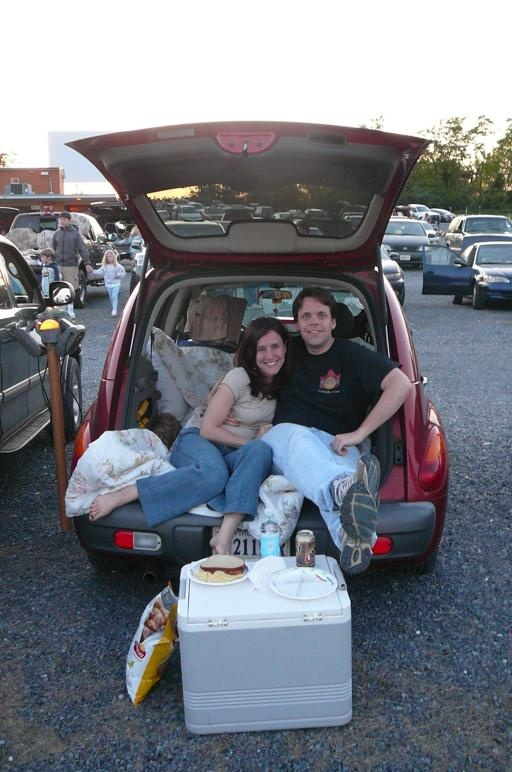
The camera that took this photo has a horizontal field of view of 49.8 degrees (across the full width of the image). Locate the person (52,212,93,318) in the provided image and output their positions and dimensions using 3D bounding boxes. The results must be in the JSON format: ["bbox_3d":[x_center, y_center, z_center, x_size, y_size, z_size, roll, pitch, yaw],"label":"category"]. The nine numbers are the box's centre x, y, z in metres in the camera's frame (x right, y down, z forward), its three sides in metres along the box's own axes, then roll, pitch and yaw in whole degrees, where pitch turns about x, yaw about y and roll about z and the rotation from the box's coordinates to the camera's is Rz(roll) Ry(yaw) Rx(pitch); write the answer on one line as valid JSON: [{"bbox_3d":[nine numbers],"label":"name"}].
[{"bbox_3d":[-4.144,-2.593,11.976,0.919,2.164,0.421,0,0,-6],"label":"person"}]

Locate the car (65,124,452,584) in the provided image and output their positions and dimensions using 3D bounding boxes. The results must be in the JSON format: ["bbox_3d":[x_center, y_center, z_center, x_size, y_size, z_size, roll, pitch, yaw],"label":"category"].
[{"bbox_3d":[0.009,-0.532,3.048,1.384,1.705,2.482,-1,23,2],"label":"car"}]

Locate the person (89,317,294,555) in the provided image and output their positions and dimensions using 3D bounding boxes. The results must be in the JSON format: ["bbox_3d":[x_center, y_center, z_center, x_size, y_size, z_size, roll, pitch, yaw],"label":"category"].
[{"bbox_3d":[-0.229,0.163,2.532,0.633,0.964,0.966,1,4,22],"label":"person"}]

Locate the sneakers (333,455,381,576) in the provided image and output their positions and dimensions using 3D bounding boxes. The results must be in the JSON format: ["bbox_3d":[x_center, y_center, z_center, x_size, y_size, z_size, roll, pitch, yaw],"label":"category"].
[{"bbox_3d":[0.324,0.434,1.961,0.125,0.448,0.183,8,14,24],"label":"sneakers"}]

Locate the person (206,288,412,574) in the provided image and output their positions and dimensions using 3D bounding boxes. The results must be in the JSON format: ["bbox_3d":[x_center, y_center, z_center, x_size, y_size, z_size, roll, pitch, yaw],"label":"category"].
[{"bbox_3d":[0.268,0.095,2.365,0.670,0.711,1.170,2,24,8],"label":"person"}]
